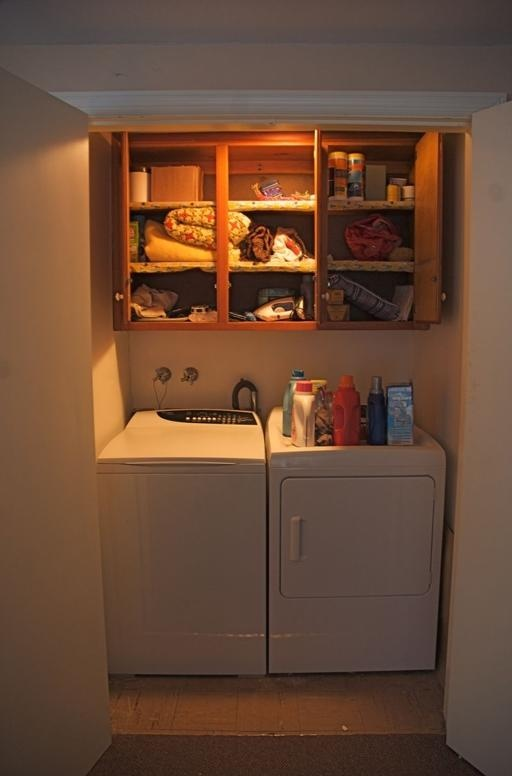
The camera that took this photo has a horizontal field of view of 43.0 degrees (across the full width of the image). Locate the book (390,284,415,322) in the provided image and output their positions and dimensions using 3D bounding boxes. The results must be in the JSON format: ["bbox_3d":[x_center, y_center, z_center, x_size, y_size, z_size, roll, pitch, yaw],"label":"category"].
[{"bbox_3d":[0.577,-0.331,2.545,0.035,0.130,0.133,5,11,-15],"label":"book"}]

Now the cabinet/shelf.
[{"bbox_3d":[0.067,-0.593,2.482,1.217,0.763,0.356,0,3,3],"label":"cabinet/shelf"}]

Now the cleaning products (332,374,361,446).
[{"bbox_3d":[0.312,0.075,2.295,0.087,0.243,0.088,1,13,-11],"label":"cleaning products"}]

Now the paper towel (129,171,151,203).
[{"bbox_3d":[-0.447,-0.766,2.486,0.075,0.130,0.091,-2,12,-5],"label":"paper towel"}]
